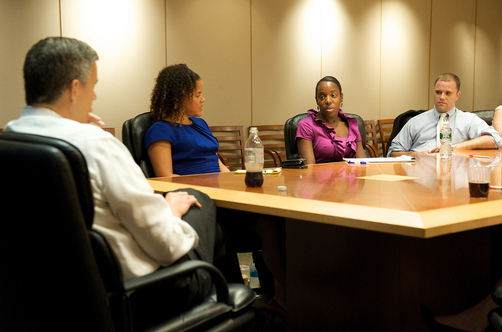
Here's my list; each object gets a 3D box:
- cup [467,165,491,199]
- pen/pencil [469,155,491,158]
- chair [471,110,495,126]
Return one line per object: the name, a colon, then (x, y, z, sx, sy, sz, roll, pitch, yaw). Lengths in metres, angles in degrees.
cup: (0.950, 0.062, 1.550, 0.076, 0.123, 0.118, 1, 11, 31)
pen/pencil: (1.852, -0.076, 3.010, 0.181, 0.022, 0.020, 6, -5, -25)
chair: (2.713, -0.577, 4.323, 0.190, 0.282, 0.224, -1, -3, 37)
